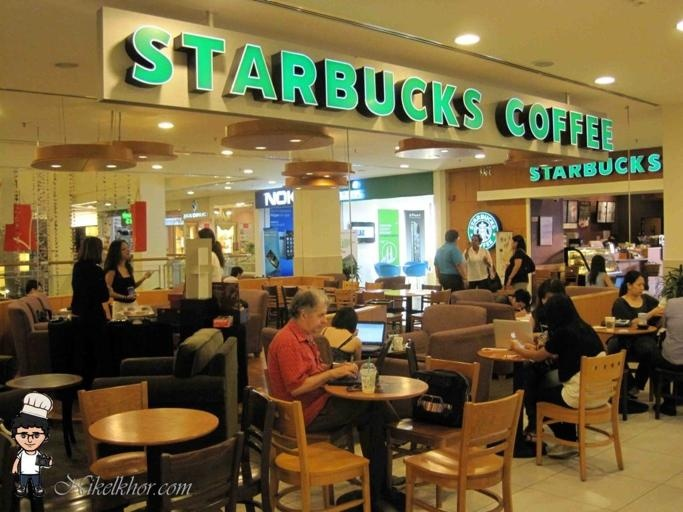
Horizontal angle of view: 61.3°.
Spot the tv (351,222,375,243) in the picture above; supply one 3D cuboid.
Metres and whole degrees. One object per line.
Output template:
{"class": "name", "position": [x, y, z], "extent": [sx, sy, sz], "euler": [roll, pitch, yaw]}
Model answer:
{"class": "tv", "position": [0.770, -0.787, 19.363], "extent": [0.774, 0.671, 0.175], "euler": [0, -3, -32]}

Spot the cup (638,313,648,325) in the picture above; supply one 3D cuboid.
{"class": "cup", "position": [3.501, 0.747, 6.745], "extent": [0.140, 0.130, 0.106], "euler": [-1, 1, -25]}

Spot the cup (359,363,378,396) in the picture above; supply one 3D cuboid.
{"class": "cup", "position": [0.202, 0.908, 4.396], "extent": [0.132, 0.220, 0.260], "euler": [-1, 3, 2]}

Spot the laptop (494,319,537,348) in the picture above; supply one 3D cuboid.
{"class": "laptop", "position": [1.830, 0.742, 6.041], "extent": [0.305, 0.285, 0.423], "euler": [-2, 2, -44]}

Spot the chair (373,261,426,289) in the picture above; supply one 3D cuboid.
{"class": "chair", "position": [1.923, 0.613, 18.176], "extent": [0.885, 0.965, 0.950], "euler": [-13, -9, 43]}

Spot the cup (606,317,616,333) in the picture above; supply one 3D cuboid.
{"class": "cup", "position": [3.120, 0.772, 6.601], "extent": [0.155, 0.148, 0.126], "euler": [-5, -4, 24]}

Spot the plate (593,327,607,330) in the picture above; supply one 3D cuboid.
{"class": "plate", "position": [2.992, 0.857, 6.716], "extent": [0.168, 0.041, 0.179], "euler": [-1, -1, 25]}

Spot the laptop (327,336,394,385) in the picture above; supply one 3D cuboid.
{"class": "laptop", "position": [0.249, 1.000, 5.705], "extent": [0.403, 0.300, 0.436], "euler": [-6, -10, 41]}

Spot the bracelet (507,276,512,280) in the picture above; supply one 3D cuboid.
{"class": "bracelet", "position": [3.138, 0.428, 10.760], "extent": [0.060, 0.078, 0.058], "euler": [1, 9, -5]}

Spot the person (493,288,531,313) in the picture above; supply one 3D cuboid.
{"class": "person", "position": [2.648, 0.690, 8.994], "extent": [0.811, 0.262, 0.616], "euler": [0, 0, 37]}

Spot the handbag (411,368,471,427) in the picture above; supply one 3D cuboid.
{"class": "handbag", "position": [0.829, 1.110, 4.788], "extent": [0.558, 0.487, 0.412], "euler": [2, -2, 44]}

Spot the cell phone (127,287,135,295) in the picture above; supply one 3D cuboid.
{"class": "cell phone", "position": [-2.814, 0.473, 7.694], "extent": [0.087, 0.110, 0.088], "euler": [-5, 3, -18]}

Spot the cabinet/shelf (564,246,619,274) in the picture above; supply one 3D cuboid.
{"class": "cabinet/shelf", "position": [6.322, 0.047, 14.810], "extent": [1.131, 0.664, 1.087], "euler": [-1, 0, -32]}

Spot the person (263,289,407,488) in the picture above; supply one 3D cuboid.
{"class": "person", "position": [-0.079, 1.067, 4.625], "extent": [1.013, 1.615, 0.360], "euler": [-2, 3, -9]}

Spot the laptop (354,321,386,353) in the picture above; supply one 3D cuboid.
{"class": "laptop", "position": [0.305, 0.891, 6.473], "extent": [0.329, 0.259, 0.235], "euler": [3, -1, 13]}

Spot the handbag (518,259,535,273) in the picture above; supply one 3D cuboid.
{"class": "handbag", "position": [3.449, 0.179, 10.710], "extent": [0.144, 0.269, 0.501], "euler": [1, 4, 39]}
